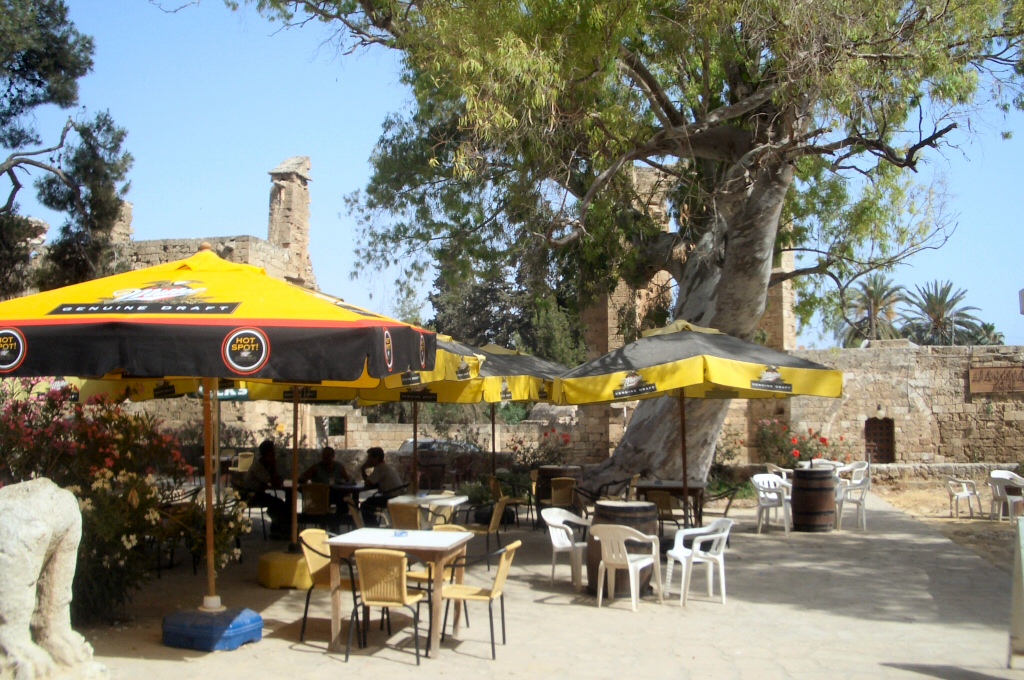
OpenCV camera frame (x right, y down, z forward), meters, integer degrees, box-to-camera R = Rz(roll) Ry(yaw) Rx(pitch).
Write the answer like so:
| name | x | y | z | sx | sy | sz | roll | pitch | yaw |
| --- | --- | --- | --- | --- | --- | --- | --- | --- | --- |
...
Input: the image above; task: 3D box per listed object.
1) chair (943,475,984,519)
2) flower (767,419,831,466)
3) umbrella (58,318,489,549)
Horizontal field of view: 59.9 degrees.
| name | x | y | z | sx | sy | sz | roll | pitch | yaw |
| --- | --- | --- | --- | --- | --- | --- | --- | --- | --- |
| chair | 9.398 | 3.284 | 18.509 | 0.713 | 0.954 | 0.763 | -4 | -4 | 32 |
| flower | 7.154 | 2.693 | 22.508 | 1.494 | 1.077 | 1.180 | -1 | -1 | -4 |
| umbrella | -2.553 | 0.628 | 11.917 | 2.862 | 1.809 | 2.911 | 1 | 1 | 23 |
